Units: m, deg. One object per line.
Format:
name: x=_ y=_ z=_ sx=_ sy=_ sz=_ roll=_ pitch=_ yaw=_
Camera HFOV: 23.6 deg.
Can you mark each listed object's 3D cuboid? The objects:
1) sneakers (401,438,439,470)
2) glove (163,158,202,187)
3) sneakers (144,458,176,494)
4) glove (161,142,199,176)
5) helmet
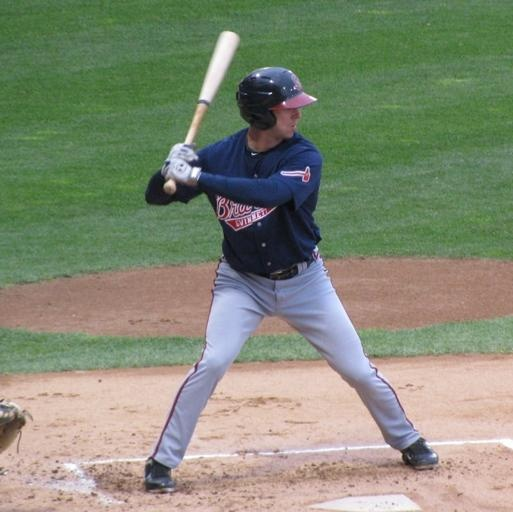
sneakers: x=1.376 y=1.684 z=10.304 sx=0.192 sy=0.157 sz=0.345 roll=-4 pitch=0 yaw=-12
glove: x=-0.615 y=-0.687 z=9.948 sx=0.393 sy=0.215 sz=0.132 roll=8 pitch=11 yaw=34
sneakers: x=-0.786 y=1.820 z=10.028 sx=0.153 sy=0.155 sz=0.390 roll=2 pitch=-2 yaw=-24
glove: x=-0.574 y=-0.834 z=10.083 sx=0.246 sy=0.285 sz=0.096 roll=2 pitch=-25 yaw=15
helmet: x=0.128 y=-1.334 z=10.222 sx=0.686 sy=0.375 sz=0.444 roll=0 pitch=18 yaw=13
